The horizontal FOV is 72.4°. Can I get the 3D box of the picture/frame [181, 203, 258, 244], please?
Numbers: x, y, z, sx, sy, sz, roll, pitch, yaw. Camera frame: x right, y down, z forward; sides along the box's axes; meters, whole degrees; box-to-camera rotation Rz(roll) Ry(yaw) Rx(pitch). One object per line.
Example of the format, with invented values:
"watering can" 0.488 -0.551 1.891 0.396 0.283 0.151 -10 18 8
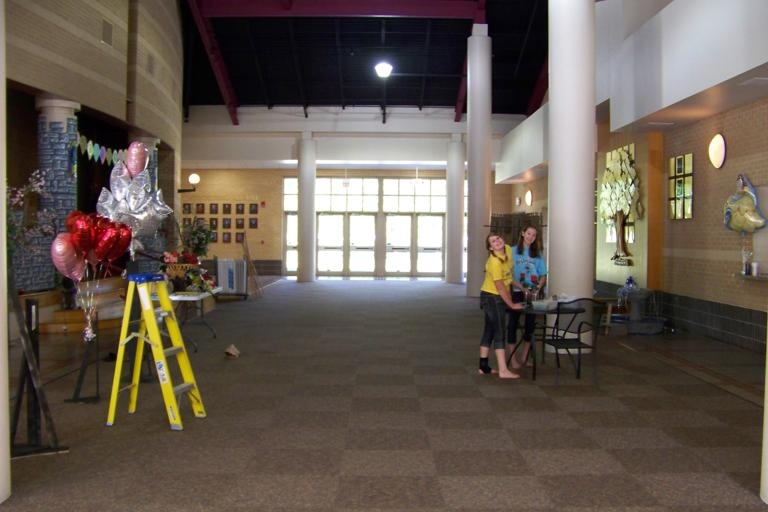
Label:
"picture/frame" -6.859 -1.398 22.539 3.030 1.780 0.421 1 8 5
